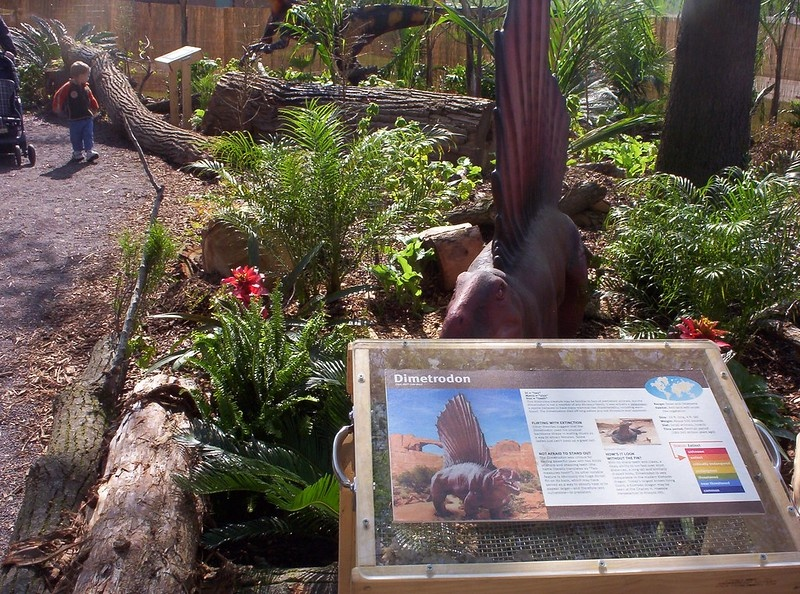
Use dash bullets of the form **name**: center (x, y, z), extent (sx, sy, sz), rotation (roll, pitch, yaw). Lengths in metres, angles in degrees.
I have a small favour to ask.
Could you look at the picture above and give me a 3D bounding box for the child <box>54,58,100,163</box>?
- **child**: center (-4.380, -2.497, 8.100), extent (0.511, 1.287, 0.604), rotation (-11, 25, -28)
